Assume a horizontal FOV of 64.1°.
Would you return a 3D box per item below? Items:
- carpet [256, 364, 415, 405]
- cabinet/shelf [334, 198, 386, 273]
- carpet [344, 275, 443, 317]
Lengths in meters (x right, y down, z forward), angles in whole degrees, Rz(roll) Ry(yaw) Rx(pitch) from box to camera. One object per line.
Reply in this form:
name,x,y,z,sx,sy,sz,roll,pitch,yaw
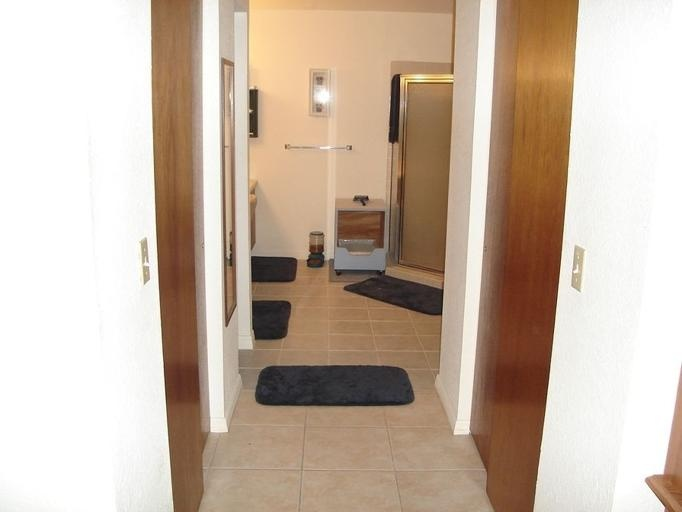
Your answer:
carpet,-0.031,0.814,3.441,0.613,0.048,0.369,2,12,-1
cabinet/shelf,0.204,-0.220,5.761,0.513,0.739,0.759,0,10,1
carpet,0.620,0.346,5.256,1.109,0.031,0.725,14,19,39
